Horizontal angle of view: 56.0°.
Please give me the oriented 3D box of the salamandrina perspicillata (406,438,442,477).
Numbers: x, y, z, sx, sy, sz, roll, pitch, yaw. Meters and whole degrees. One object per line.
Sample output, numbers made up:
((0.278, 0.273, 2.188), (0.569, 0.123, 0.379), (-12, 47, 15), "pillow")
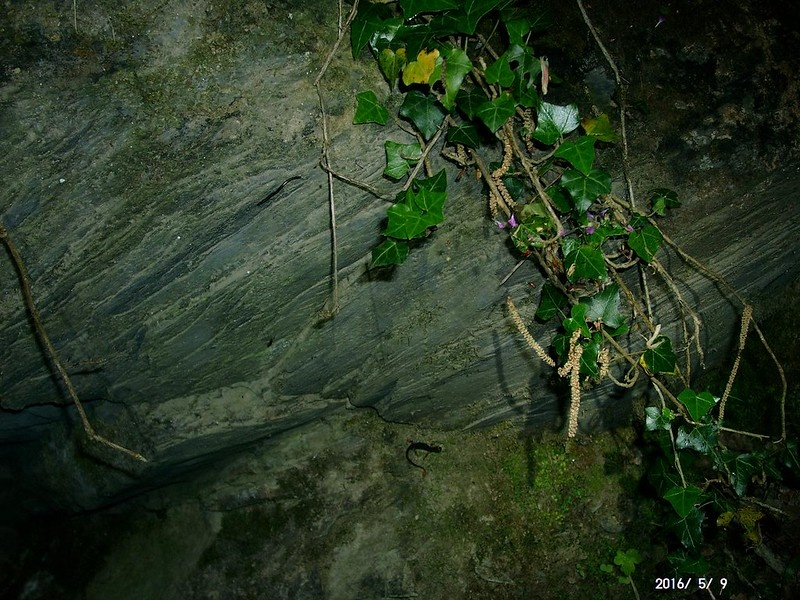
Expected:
((0.116, 0.974, 4.710), (0.161, 0.234, 0.059), (8, 3, -11), "salamandrina perspicillata")
